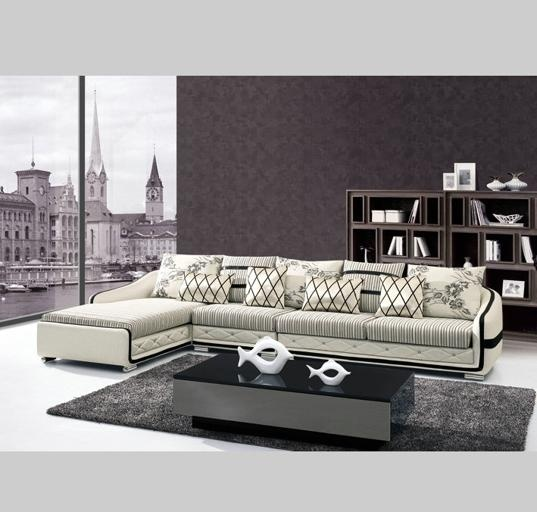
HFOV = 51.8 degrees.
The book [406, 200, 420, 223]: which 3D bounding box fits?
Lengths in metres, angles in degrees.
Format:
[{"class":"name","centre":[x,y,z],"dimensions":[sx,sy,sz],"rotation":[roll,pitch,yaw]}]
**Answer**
[{"class":"book","centre":[1.523,-0.452,5.761],"dimensions":[0.058,0.217,0.218],"rotation":[9,7,12]}]

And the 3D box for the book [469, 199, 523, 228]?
[{"class":"book","centre":[2.251,-0.374,5.540],"dimensions":[0.351,0.221,0.360],"rotation":[1,2,24]}]

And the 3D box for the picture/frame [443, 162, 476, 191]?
[{"class":"picture/frame","centre":[1.961,-0.791,5.646],"dimensions":[0.334,0.332,0.038],"rotation":[1,-11,13]}]

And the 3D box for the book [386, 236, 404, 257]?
[{"class":"book","centre":[1.366,-0.076,5.965],"dimensions":[0.170,0.230,0.221],"rotation":[3,-21,10]}]

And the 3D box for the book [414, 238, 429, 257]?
[{"class":"book","centre":[1.587,-0.072,5.774],"dimensions":[0.043,0.183,0.180],"rotation":[-12,-3,27]}]
